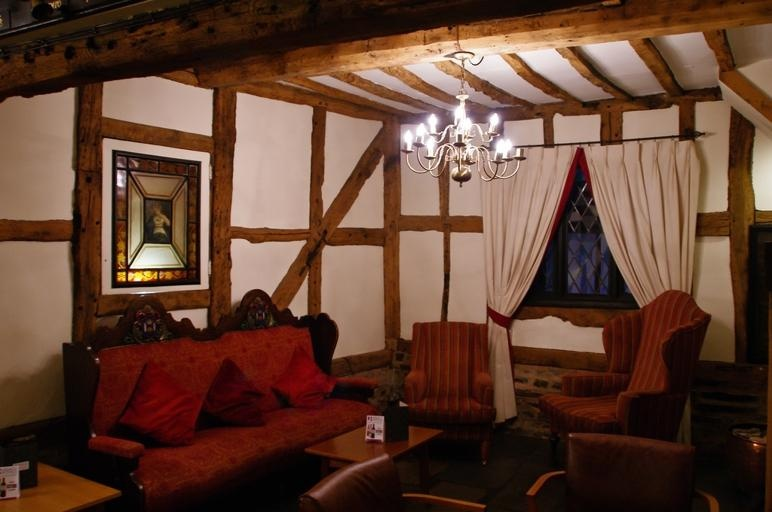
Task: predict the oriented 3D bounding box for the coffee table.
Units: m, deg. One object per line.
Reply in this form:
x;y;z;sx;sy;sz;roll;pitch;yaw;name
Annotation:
-0.144;1.940;4.703;0.685;0.574;1.098;-5;-4;29;coffee table

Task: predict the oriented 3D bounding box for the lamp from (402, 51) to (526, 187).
0.692;-1.321;5.371;1.278;1.208;1.178;2;2;-10;lamp

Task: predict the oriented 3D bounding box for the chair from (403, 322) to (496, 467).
0.678;1.448;6.246;0.952;1.282;1.173;0;0;6;chair

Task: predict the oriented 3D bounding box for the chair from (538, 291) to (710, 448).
2.485;1.185;6.111;1.729;2.011;1.521;4;-7;-12;chair
